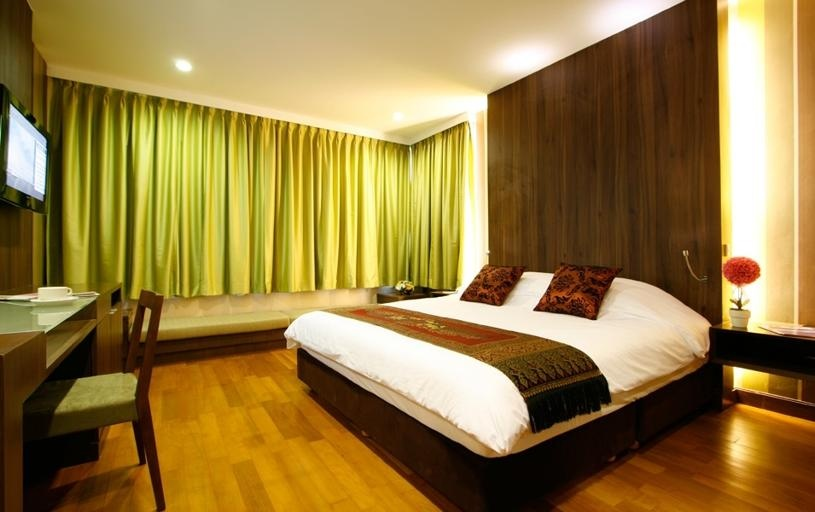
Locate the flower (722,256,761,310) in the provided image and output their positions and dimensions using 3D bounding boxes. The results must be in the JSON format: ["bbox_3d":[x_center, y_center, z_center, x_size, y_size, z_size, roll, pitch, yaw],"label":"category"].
[{"bbox_3d":[3.059,0.239,4.684,0.280,0.479,0.355,3,3,31],"label":"flower"}]

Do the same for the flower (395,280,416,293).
[{"bbox_3d":[0.001,0.424,7.144,0.193,0.105,0.182,5,-2,-33],"label":"flower"}]

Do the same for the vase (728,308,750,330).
[{"bbox_3d":[2.984,0.563,4.564,0.173,0.136,0.170,3,-5,2],"label":"vase"}]
